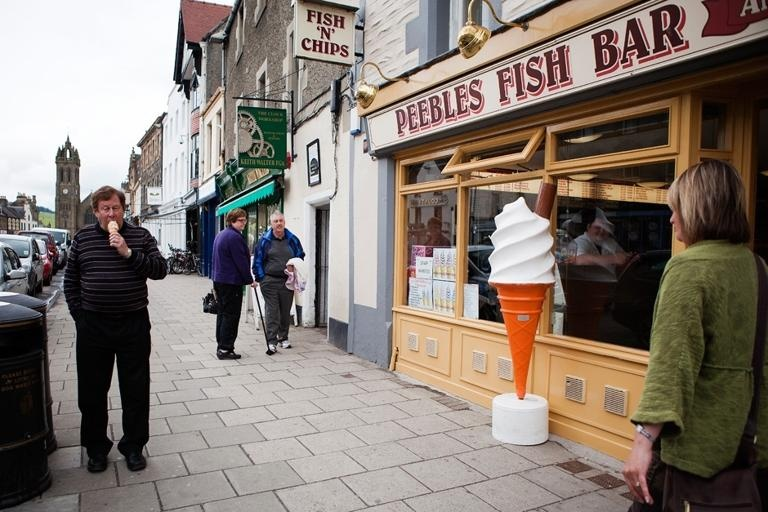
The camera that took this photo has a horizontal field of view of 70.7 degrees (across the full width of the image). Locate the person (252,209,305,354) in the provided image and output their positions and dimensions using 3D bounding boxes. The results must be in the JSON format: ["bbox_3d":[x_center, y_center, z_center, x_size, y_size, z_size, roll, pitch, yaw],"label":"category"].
[{"bbox_3d":[-1.773,0.421,9.183,0.799,2.326,0.883,-1,5,-21],"label":"person"}]

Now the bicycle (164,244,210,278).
[{"bbox_3d":[-9.288,0.238,25.722,2.140,1.373,1.487,3,-6,-24],"label":"bicycle"}]

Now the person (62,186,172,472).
[{"bbox_3d":[-2.449,0.641,4.898,0.811,2.526,0.488,-1,5,-23],"label":"person"}]

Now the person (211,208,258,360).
[{"bbox_3d":[-2.420,0.427,8.667,0.608,2.354,0.602,-1,4,-14],"label":"person"}]

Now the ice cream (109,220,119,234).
[{"bbox_3d":[-2.419,-0.258,4.824,0.084,0.118,0.035,0,-19,-33],"label":"ice cream"}]

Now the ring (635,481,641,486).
[{"bbox_3d":[1.369,1.221,2.912,0.017,0.023,0.007,13,-11,10],"label":"ring"}]
